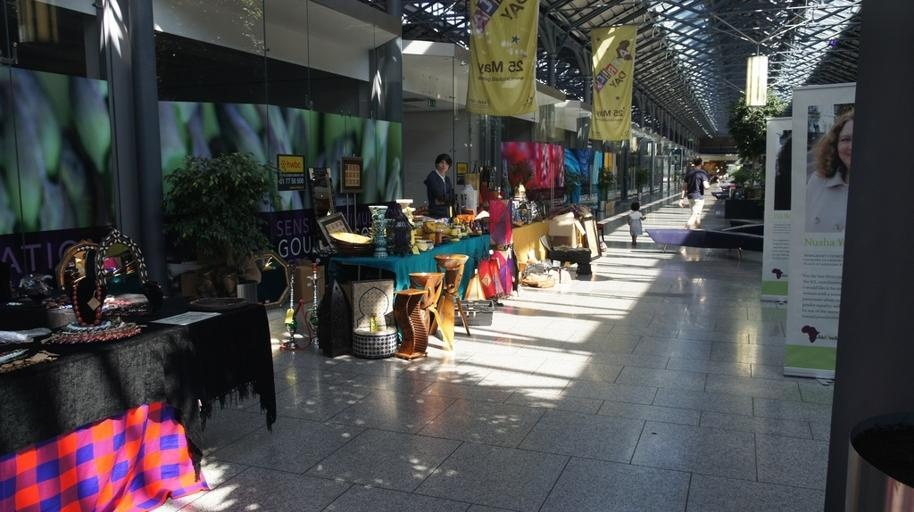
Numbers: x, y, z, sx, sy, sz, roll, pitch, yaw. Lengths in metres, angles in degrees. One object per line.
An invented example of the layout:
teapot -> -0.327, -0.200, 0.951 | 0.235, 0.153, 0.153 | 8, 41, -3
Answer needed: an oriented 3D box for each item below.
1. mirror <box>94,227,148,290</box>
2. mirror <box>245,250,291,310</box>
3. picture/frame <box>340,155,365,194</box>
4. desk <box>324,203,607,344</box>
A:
mirror -> -2.910, 0.073, 4.970 | 0.368, 0.647, 0.050 | -18, 33, -41
mirror -> -3.006, 0.407, 9.186 | 1.028, 0.901, 0.097 | -10, -3, 31
picture/frame -> -1.930, -1.478, 10.592 | 0.626, 0.630, 0.062 | 9, 10, 43
desk -> 0.731, -0.013, 9.838 | 1.156, 1.655, 7.029 | 10, 17, 32
